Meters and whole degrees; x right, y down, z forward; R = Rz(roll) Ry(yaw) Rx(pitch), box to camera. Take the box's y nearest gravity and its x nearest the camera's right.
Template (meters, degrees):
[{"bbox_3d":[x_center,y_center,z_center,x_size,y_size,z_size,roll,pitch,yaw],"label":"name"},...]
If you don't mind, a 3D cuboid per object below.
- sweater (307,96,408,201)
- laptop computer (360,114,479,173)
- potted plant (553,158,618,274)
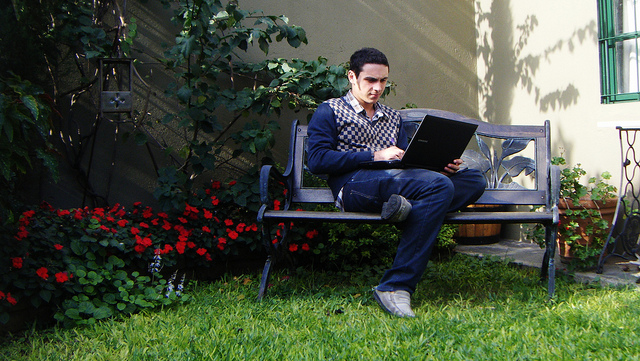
[{"bbox_3d":[0.393,-0.319,4.029,1.005,0.897,0.544,5,-5,-31],"label":"sweater"},{"bbox_3d":[0.835,-0.276,3.694,0.576,0.550,0.345,2,33,-32],"label":"laptop computer"},{"bbox_3d":[2.522,0.369,4.393,0.507,0.683,0.417,4,3,21],"label":"potted plant"}]
